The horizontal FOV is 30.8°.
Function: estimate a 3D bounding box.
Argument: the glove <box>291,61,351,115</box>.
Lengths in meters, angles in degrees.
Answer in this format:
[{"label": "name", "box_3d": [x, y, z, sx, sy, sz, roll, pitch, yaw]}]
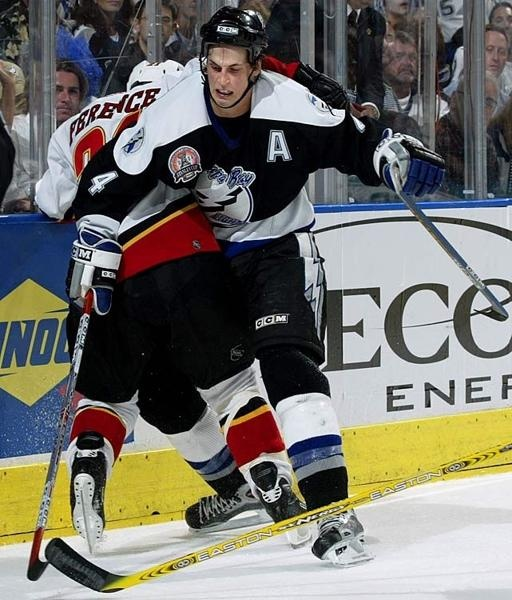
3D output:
[{"label": "glove", "box_3d": [0.189, -0.599, 2.600, 0.185, 0.070, 0.105, 31, 29, 5]}]

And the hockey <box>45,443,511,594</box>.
[{"label": "hockey", "box_3d": [0.014, 0.657, 2.730, 0.966, 0.124, 0.077, -16, 60, -6]}]

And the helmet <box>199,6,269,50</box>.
[{"label": "helmet", "box_3d": [-0.057, -0.717, 2.505, 0.134, 0.131, 0.146, 5, -8, 11]}]

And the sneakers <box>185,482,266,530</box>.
[{"label": "sneakers", "box_3d": [-0.109, 0.673, 3.080, 0.367, 0.144, 0.114, -2, 39, -4]}]

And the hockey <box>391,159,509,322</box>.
[{"label": "hockey", "box_3d": [0.713, -0.190, 3.471, 0.186, 0.759, 0.194, -20, 28, 52]}]

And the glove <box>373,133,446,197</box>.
[{"label": "glove", "box_3d": [0.385, -0.392, 2.600, 0.154, 0.102, 0.207, 22, 12, -46]}]

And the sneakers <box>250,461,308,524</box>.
[{"label": "sneakers", "box_3d": [0.058, 0.559, 2.724, 0.103, 0.223, 0.098, -35, -3, 9]}]
